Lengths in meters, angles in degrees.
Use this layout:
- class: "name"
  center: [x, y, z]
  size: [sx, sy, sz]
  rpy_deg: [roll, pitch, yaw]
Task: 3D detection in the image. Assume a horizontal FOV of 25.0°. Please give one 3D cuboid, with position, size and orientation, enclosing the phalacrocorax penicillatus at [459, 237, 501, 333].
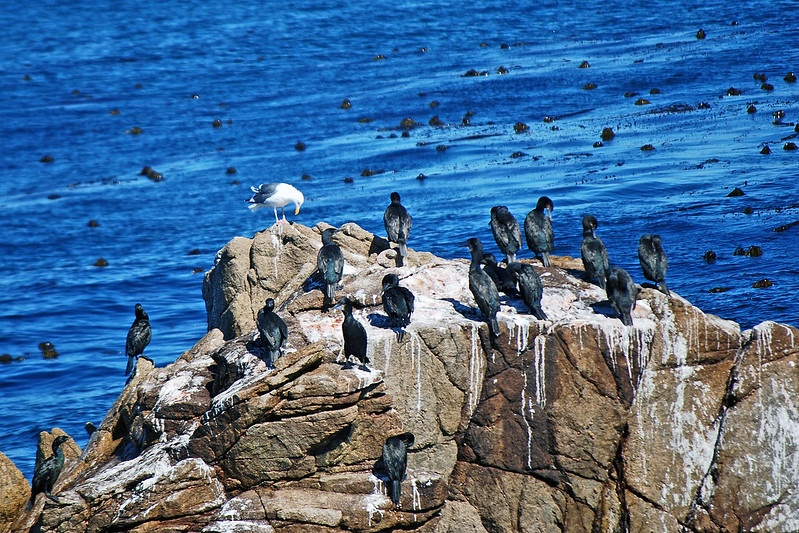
- class: "phalacrocorax penicillatus"
  center: [5.112, 1.377, 111.626]
  size: [2.305, 5.469, 2.226]
  rpy_deg: [6, -10, -3]

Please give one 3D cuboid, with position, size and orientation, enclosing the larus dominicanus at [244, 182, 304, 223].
- class: "larus dominicanus"
  center: [-8.161, -4.188, 119.327]
  size: [4.579, 2.443, 2.191]
  rpy_deg: [7, 3, 37]

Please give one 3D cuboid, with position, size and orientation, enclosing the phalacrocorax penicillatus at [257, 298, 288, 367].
- class: "phalacrocorax penicillatus"
  center: [-7.782, 4.255, 111.279]
  size: [1.980, 4.055, 2.562]
  rpy_deg: [5, -21, -1]

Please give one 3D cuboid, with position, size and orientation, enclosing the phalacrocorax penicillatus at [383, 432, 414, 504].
- class: "phalacrocorax penicillatus"
  center: [-0.196, 12.509, 111.015]
  size: [2.288, 3.819, 3.022]
  rpy_deg: [3, -7, 0]
